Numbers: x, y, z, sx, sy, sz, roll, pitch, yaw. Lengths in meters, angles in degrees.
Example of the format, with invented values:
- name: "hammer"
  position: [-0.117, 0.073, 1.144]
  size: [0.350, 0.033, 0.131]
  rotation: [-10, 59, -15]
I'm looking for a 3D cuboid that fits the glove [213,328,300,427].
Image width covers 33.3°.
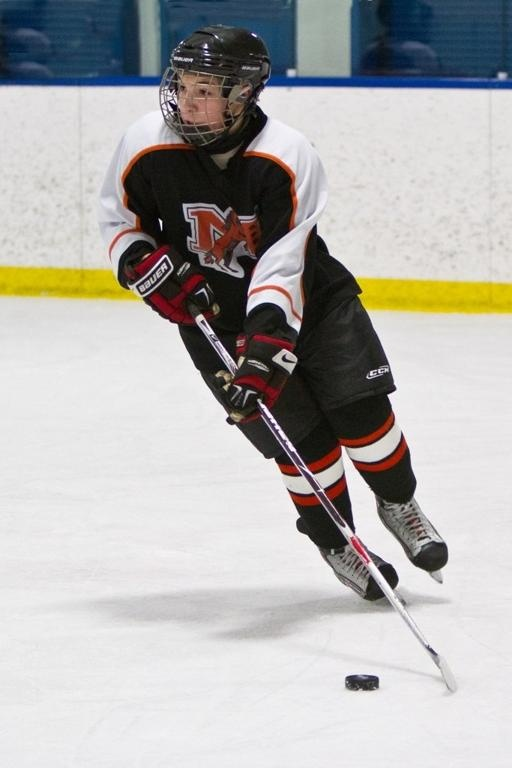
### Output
- name: "glove"
  position: [0.010, -0.012, 1.431]
  size: [0.118, 0.148, 0.067]
  rotation: [34, 8, 18]

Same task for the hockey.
- name: "hockey"
  position: [0.120, 0.245, 1.723]
  size: [0.940, 0.148, 0.018]
  rotation: [50, 22, -20]

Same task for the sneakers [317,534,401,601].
- name: "sneakers"
  position: [0.182, 0.366, 1.689]
  size: [0.150, 0.056, 0.049]
  rotation: [37, 1, -31]
